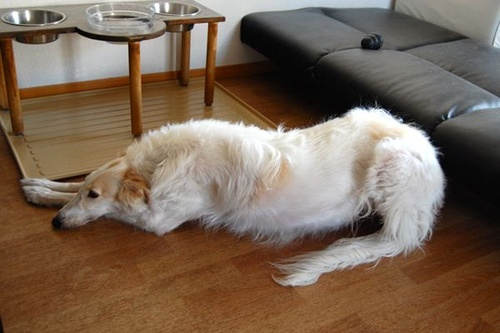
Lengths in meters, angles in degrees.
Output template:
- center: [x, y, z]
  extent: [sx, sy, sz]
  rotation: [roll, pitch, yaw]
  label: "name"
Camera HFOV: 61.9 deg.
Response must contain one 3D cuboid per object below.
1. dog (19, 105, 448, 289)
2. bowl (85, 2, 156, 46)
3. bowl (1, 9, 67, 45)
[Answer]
- center: [0.020, 0.093, 1.897]
  extent: [1.385, 0.378, 0.857]
  rotation: [-2, 34, -7]
  label: "dog"
- center: [-0.724, -0.836, 2.320]
  extent: [0.298, 0.068, 0.294]
  rotation: [4, 37, -3]
  label: "bowl"
- center: [-1.205, -0.813, 2.342]
  extent: [0.283, 0.103, 0.272]
  rotation: [6, 40, -5]
  label: "bowl"
